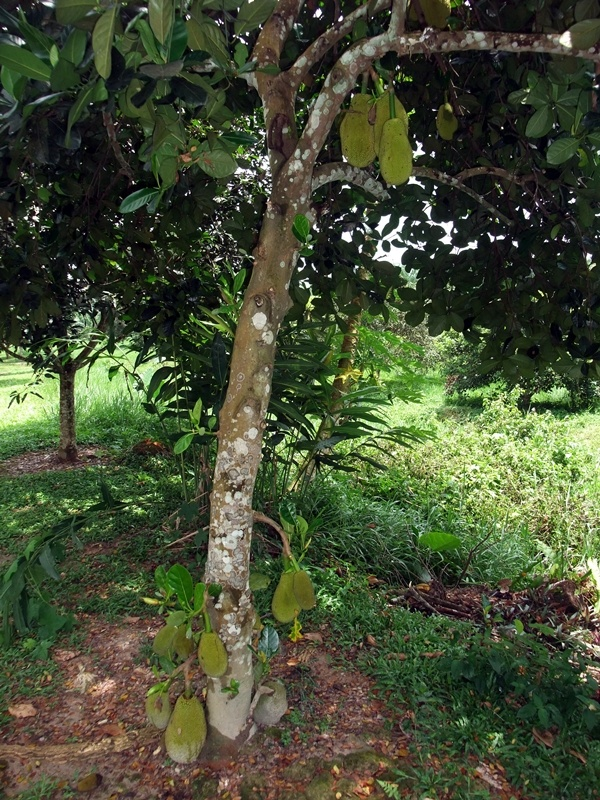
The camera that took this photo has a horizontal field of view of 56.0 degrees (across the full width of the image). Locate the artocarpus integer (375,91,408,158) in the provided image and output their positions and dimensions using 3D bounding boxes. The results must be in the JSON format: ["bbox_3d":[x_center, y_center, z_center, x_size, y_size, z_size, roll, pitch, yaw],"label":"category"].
[{"bbox_3d":[0.215,-0.657,1.344,0.095,0.150,0.054,3,0,-9],"label":"artocarpus integer"}]

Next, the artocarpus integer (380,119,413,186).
[{"bbox_3d":[0.226,-0.573,1.333,0.071,0.139,0.148,2,7,9],"label":"artocarpus integer"}]

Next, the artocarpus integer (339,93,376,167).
[{"bbox_3d":[0.156,-0.692,1.438,0.056,0.177,0.119,-4,9,-35],"label":"artocarpus integer"}]
